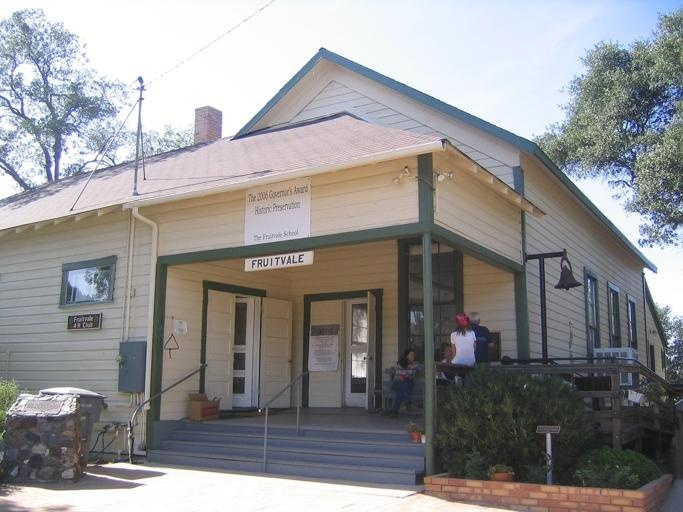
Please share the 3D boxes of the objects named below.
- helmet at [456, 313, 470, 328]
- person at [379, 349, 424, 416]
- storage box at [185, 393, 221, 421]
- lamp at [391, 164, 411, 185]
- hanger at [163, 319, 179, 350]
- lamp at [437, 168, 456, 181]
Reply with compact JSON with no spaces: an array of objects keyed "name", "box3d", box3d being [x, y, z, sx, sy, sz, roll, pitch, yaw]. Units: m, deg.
[{"name":"helmet","box3d":[2.187,1.118,10.981,0.185,0.246,0.232,-6,-54,-6]},{"name":"person","box3d":[1.297,2.655,12.998,0.838,1.515,1.388,0,-17,-1]},{"name":"storage box","box3d":[-2.850,3.075,12.589,0.474,0.506,0.611,-9,-15,32]},{"name":"lamp","box3d":[0.982,-1.307,9.866,0.247,0.289,0.077,38,13,12]},{"name":"hanger","box3d":[-3.460,1.622,12.491,0.064,0.692,0.417,-8,-18,24]},{"name":"lamp","box3d":[1.696,-1.319,10.106,0.183,0.169,0.302,9,-17,-13]}]
